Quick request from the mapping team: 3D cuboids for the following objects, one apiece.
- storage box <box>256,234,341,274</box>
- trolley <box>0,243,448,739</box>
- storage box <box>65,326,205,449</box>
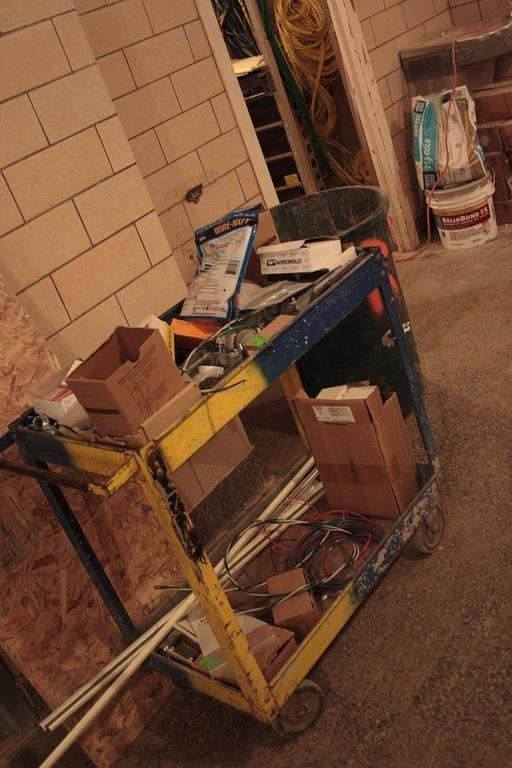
[{"bbox_3d":[0.144,-0.405,1.843,0.197,0.098,0.157,13,36,45],"label":"storage box"},{"bbox_3d":[-0.080,0.355,1.687,0.716,0.702,1.313,-6,30,44],"label":"trolley"},{"bbox_3d":[-0.265,-0.007,1.207,0.196,0.140,0.257,-37,23,-23],"label":"storage box"}]
